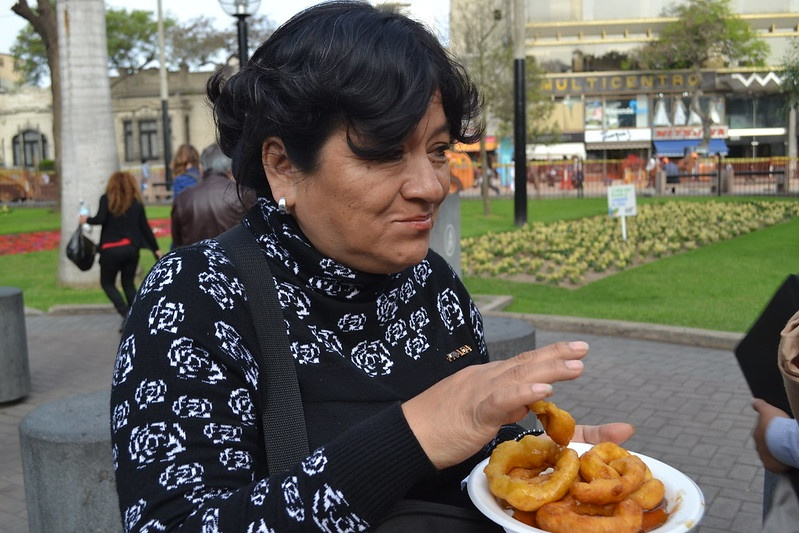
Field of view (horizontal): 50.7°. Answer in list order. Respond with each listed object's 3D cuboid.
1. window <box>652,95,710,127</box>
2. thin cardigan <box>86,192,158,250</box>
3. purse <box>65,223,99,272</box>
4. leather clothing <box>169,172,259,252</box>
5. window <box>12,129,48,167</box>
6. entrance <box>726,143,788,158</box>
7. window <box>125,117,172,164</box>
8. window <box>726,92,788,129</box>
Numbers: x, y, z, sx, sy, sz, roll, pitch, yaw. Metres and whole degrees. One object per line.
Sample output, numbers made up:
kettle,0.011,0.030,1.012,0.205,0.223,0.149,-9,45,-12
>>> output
window,2.511,-1.339,7.361,0.187,0.263,0.620,-9,16,-28
thin cardigan,-3.174,-0.498,9.500,0.427,0.833,0.303,-14,56,-27
purse,-3.265,-0.197,8.563,0.275,0.257,0.558,6,51,-20
leather clothing,-1.457,-0.414,6.539,0.662,0.827,0.418,4,14,7
window,-2.559,-0.807,5.839,0.247,0.320,0.028,-7,-29,-21
entrance,2.976,-0.960,6.945,0.440,0.152,0.120,5,15,27
window,-1.766,-0.983,5.914,0.230,0.349,0.361,-3,41,-15
window,2.954,-1.271,6.928,0.108,0.274,0.540,-14,18,-42
